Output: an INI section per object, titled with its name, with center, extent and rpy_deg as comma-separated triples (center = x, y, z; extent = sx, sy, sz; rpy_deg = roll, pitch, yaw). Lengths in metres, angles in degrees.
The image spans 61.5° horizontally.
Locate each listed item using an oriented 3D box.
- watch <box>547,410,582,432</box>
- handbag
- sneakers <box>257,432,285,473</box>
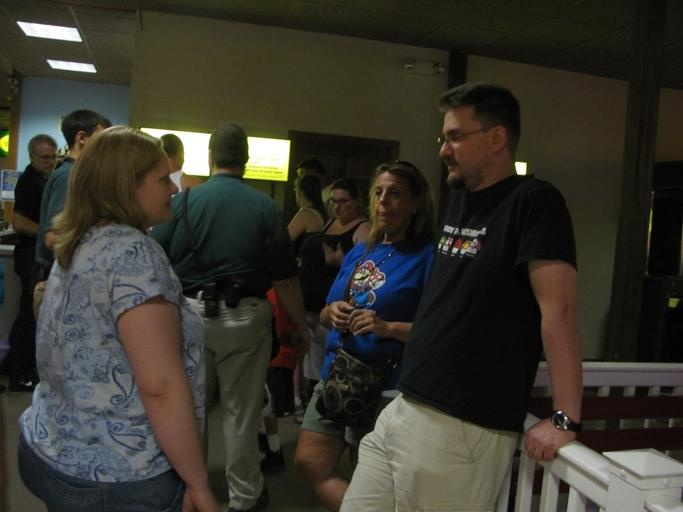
[watch]
center = 0.657, 0.488, 1.693
extent = 0.082, 0.055, 0.087
rpy_deg = 18, -7, -7
[handbag]
center = 0.045, 0.560, 2.440
extent = 0.240, 0.310, 0.171
rpy_deg = 15, 8, 20
[sneakers]
center = -0.439, 1.234, 3.612
extent = 0.110, 0.144, 0.306
rpy_deg = -2, -6, -11
